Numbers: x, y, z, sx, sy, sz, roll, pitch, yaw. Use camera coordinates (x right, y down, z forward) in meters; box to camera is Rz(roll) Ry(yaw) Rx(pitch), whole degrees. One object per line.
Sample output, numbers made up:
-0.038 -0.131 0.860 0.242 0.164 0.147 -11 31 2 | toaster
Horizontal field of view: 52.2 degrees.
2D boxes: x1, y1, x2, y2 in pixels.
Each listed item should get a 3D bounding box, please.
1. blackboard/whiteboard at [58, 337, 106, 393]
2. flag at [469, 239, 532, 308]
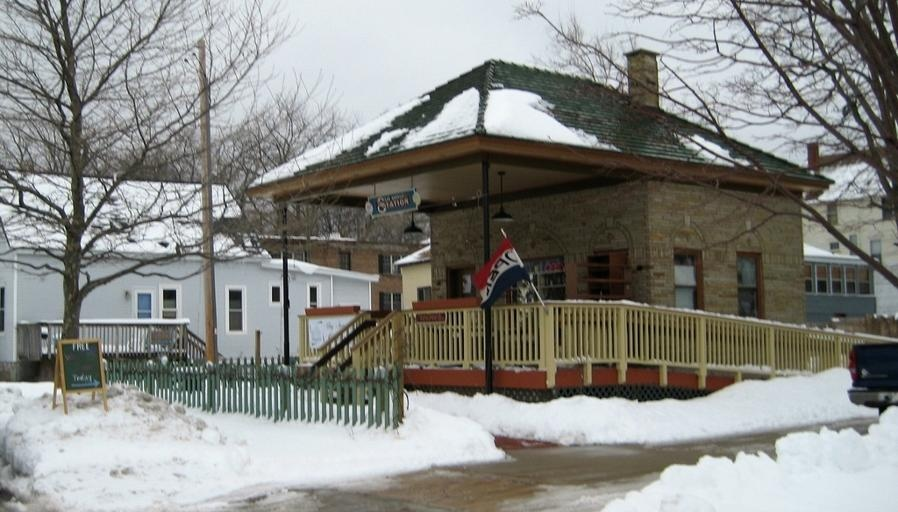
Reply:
-8.468 2.325 21.122 0.963 0.896 1.417 -3 -48 -17 | blackboard/whiteboard
1.377 0.271 23.950 1.664 2.979 0.342 -21 -57 23 | flag
